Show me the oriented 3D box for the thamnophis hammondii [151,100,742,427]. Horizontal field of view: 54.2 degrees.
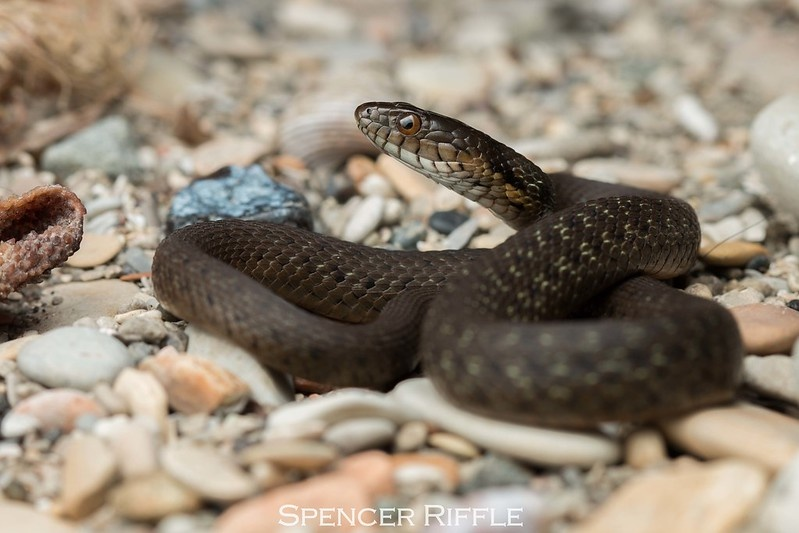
[{"bbox_3d":[0.264,-0.014,2.999,1.750,1.803,1.097,1,82,0],"label":"thamnophis hammondii"}]
